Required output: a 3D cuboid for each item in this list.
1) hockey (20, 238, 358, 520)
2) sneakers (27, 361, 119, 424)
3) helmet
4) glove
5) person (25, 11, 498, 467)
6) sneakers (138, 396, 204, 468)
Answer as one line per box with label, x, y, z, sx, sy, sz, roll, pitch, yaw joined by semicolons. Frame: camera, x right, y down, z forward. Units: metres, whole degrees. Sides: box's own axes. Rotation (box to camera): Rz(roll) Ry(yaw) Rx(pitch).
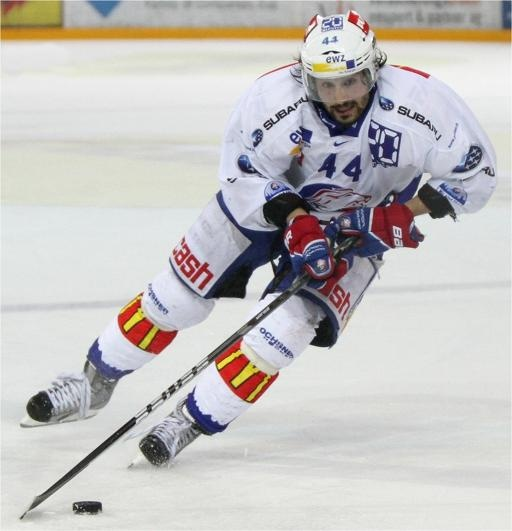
hockey;-0.217;0.441;2.889;1.523;0.059;0.195;-30;27;-7
sneakers;-0.695;0.499;3.069;0.377;0.224;0.112;-7;62;-37
helmet;0.284;-0.679;2.573;0.258;0.231;0.291;7;39;20
glove;0.320;-0.092;2.575;0.425;0.127;0.261;-21;35;-33
person;0.012;-0.149;2.571;1.025;0.922;1.876;20;43;35
sneakers;-0.282;0.580;2.726;0.264;0.125;0.098;-35;-1;-31
